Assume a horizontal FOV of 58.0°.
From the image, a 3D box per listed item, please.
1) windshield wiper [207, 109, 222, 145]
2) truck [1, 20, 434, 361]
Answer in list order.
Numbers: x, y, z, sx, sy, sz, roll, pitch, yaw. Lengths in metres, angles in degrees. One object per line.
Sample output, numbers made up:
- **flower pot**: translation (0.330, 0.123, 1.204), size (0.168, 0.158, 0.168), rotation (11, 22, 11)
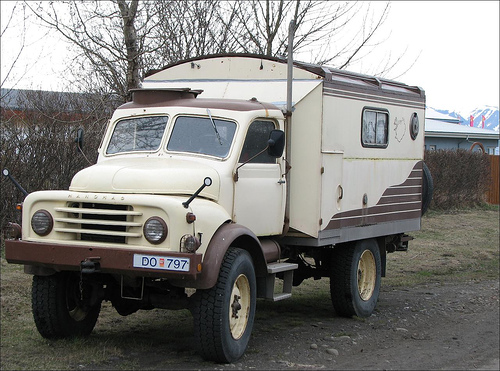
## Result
- **windshield wiper**: translation (-0.496, -0.814, 6.242), size (0.094, 0.777, 0.038), rotation (-13, -18, -13)
- **truck**: translation (-0.051, 0.124, 8.817), size (3.968, 5.279, 8.860), rotation (-1, -1, 39)
